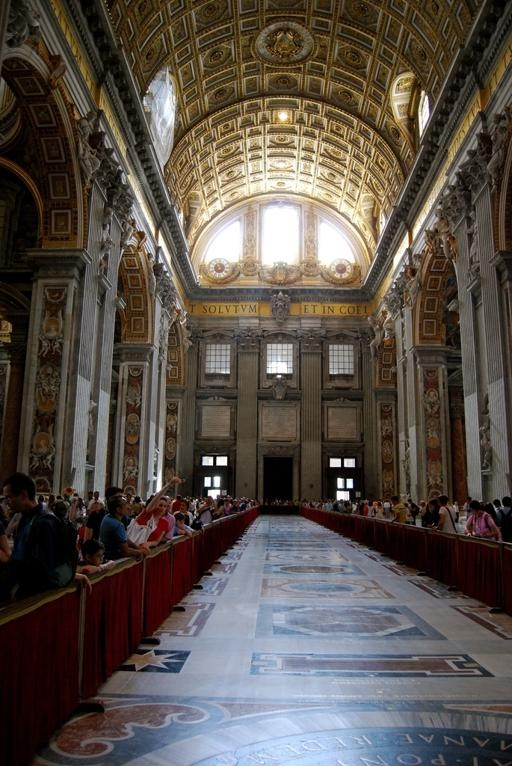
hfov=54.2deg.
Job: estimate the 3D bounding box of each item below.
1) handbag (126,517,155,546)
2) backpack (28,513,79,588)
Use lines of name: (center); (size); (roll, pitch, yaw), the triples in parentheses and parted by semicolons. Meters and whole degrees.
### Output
handbag: (-1.343, 1.763, 5.797); (0.312, 0.435, 0.241); (2, -33, -2)
backpack: (-1.183, 0.996, 2.955); (0.238, 0.444, 0.308); (-10, -17, -17)
